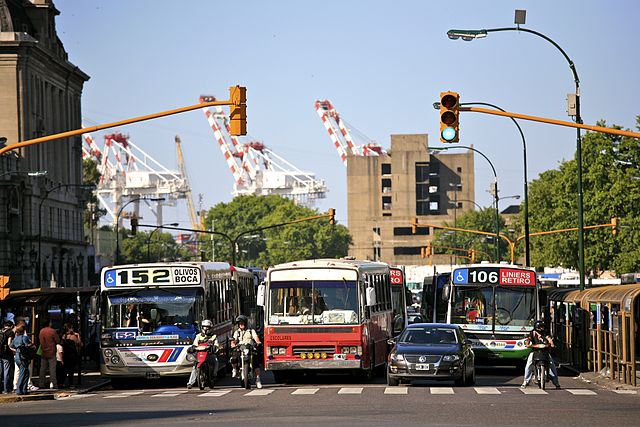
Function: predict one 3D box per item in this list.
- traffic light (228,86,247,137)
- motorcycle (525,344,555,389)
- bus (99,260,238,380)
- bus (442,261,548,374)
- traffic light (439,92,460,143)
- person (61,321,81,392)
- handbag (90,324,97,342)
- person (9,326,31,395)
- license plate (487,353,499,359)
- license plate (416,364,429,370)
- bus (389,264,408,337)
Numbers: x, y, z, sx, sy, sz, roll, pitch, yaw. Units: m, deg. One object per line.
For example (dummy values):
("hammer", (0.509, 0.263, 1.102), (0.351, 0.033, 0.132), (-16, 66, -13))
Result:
("traffic light", (-2.972, -3.982, 39.175), (0.700, 2.243, 0.667), (3, 36, -4))
("motorcycle", (8.476, 5.818, 40.490), (0.804, 1.687, 1.026), (-3, -6, 10))
("bus", (-6.175, 4.295, 42.210), (4.158, 4.977, 11.223), (1, 1, 2))
("bus", (7.463, 4.204, 45.106), (3.867, 4.291, 1.181), (-4, -6, 10))
("traffic light", (4.679, -3.482, 38.178), (0.674, 1.733, 0.469), (-2, -6, -2))
("person", (-10.244, 5.817, 43.226), (0.845, 2.681, 0.739), (-1, 1, -43))
("handbag", (-10.809, 5.722, 50.755), (0.267, 0.783, 0.994), (-1, -7, -16))
("person", (-11.469, 5.593, 40.536), (0.722, 2.410, 0.687), (-2, -3, 30))
("license plate", (7.300, 5.955, 44.661), (0.474, 0.205, 0.094), (-4, -6, 10))
("license plate", (3.857, 5.744, 39.817), (0.471, 0.205, 0.062), (-5, -6, 15))
("bus", (3.864, 4.158, 51.998), (1.047, 3.018, 0.830), (1, 0, -2))
